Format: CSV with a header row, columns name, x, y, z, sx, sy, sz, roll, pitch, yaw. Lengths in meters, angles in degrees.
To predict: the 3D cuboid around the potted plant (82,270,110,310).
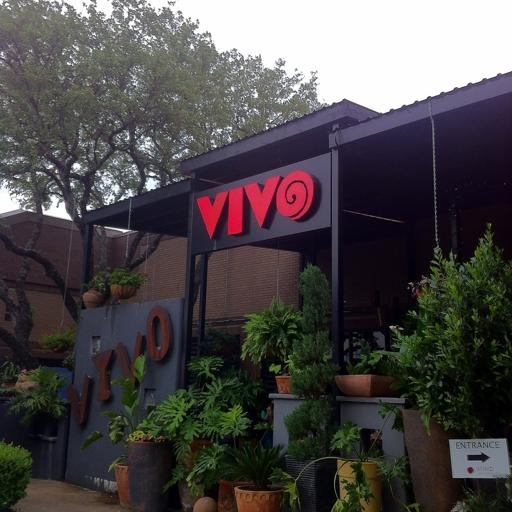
name,x,y,z,sx,sy,sz,roll,pitch,yaw
potted plant,-3.983,0.816,10.264,0.601,1.089,1.199,5,-15,-21
